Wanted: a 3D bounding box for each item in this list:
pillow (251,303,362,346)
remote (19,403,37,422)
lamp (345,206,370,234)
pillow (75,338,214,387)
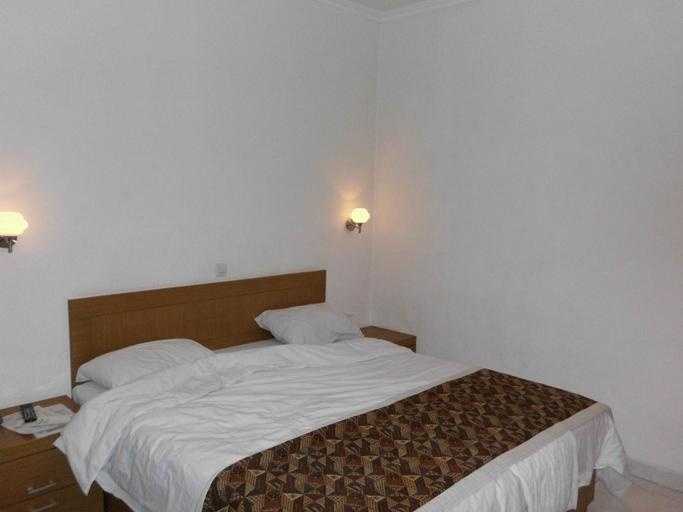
[{"bbox_3d":[-0.234,0.542,4.047,0.441,0.139,0.440,-3,15,-37],"label":"pillow"},{"bbox_3d":[-1.822,0.904,2.959,0.072,0.031,0.131,1,6,-44],"label":"remote"},{"bbox_3d":[0.174,-0.339,4.816,0.201,0.239,0.214,2,6,36],"label":"lamp"},{"bbox_3d":[-1.353,0.673,3.276,0.309,0.150,0.547,19,12,33],"label":"pillow"}]
